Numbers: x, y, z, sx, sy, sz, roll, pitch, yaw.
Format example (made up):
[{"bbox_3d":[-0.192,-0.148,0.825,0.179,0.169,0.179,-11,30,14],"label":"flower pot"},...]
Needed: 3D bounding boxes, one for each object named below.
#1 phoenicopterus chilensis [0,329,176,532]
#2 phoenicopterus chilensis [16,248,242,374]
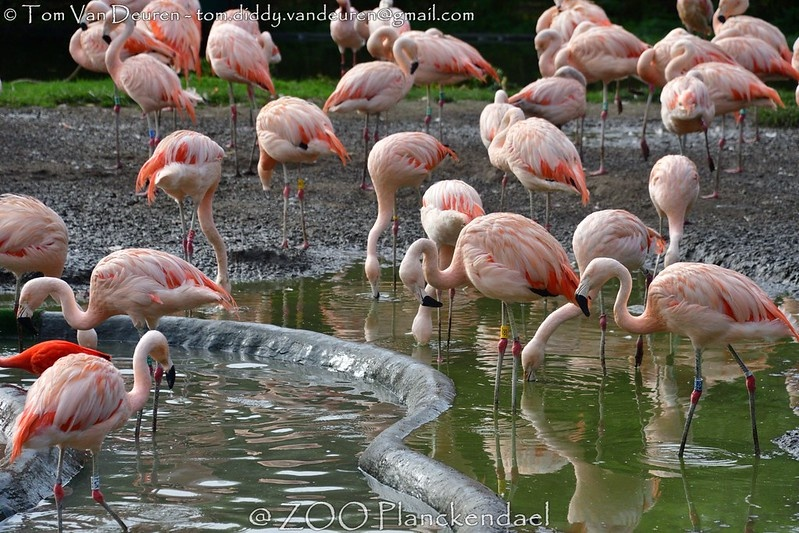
[{"bbox_3d":[-1.778,0.954,6.466,0.542,0.867,1.060,11,24,36],"label":"phoenicopterus chilensis"},{"bbox_3d":[-1.898,0.268,7.491,1.277,0.731,0.671,-5,6,-11],"label":"phoenicopterus chilensis"}]
